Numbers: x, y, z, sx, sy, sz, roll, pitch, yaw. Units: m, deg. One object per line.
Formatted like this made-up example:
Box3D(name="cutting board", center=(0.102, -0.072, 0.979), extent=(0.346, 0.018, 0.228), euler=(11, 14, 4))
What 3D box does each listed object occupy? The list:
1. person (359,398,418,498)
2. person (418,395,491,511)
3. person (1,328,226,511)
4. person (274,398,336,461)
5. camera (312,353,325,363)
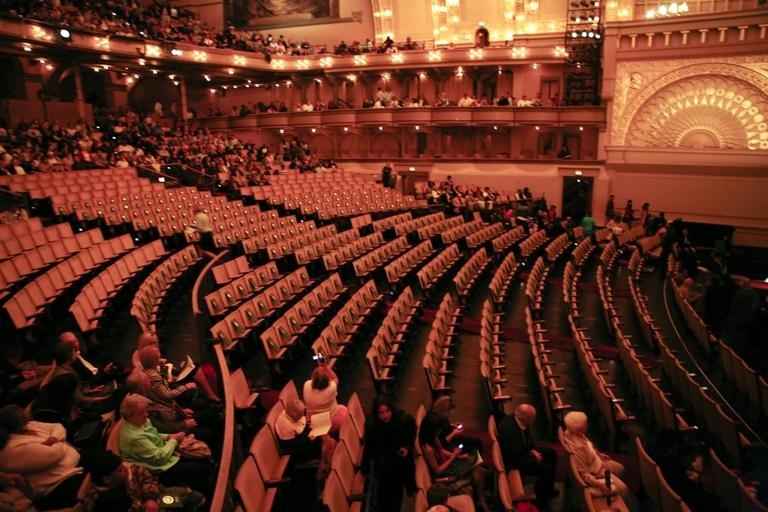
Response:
Box3D(name="person", center=(0.076, 2.286, 5.923), extent=(0.623, 1.325, 0.534), euler=(3, 18, 1))
Box3D(name="person", center=(0.841, 2.267, 5.955), extent=(0.891, 1.216, 0.745), euler=(6, 18, 11))
Box3D(name="person", center=(-2.551, 1.828, 6.055), extent=(1.110, 1.418, 1.698), euler=(-4, 18, -19))
Box3D(name="person", center=(-0.981, 2.143, 6.298), extent=(0.798, 0.797, 0.643), euler=(3, 19, -6))
Box3D(name="camera", center=(-0.911, 1.445, 7.218), extent=(0.184, 0.159, 0.046), euler=(0, -17, -26))
